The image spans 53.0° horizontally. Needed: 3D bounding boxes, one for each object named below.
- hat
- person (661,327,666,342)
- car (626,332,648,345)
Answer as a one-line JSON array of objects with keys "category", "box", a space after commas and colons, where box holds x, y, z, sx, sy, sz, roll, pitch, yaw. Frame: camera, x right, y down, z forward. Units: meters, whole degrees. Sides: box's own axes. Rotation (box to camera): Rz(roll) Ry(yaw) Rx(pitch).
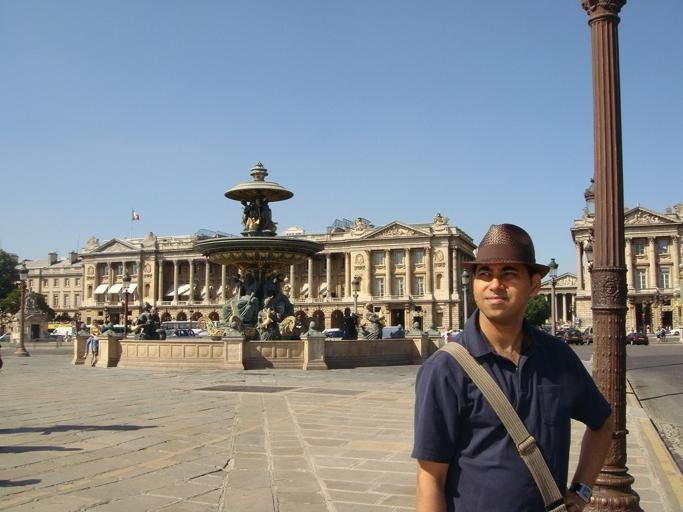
[{"category": "hat", "box": [0.862, -0.068, 3.705, 0.527, 0.213, 0.602, -1, -15, 21]}, {"category": "person", "box": [27.736, 6.789, 59.286, 0.299, 0.822, 1.035, -3, -5, 17]}, {"category": "car", "box": [22.590, 6.254, 52.615, 1.323, 0.924, 2.110, -2, -5, 9]}]
